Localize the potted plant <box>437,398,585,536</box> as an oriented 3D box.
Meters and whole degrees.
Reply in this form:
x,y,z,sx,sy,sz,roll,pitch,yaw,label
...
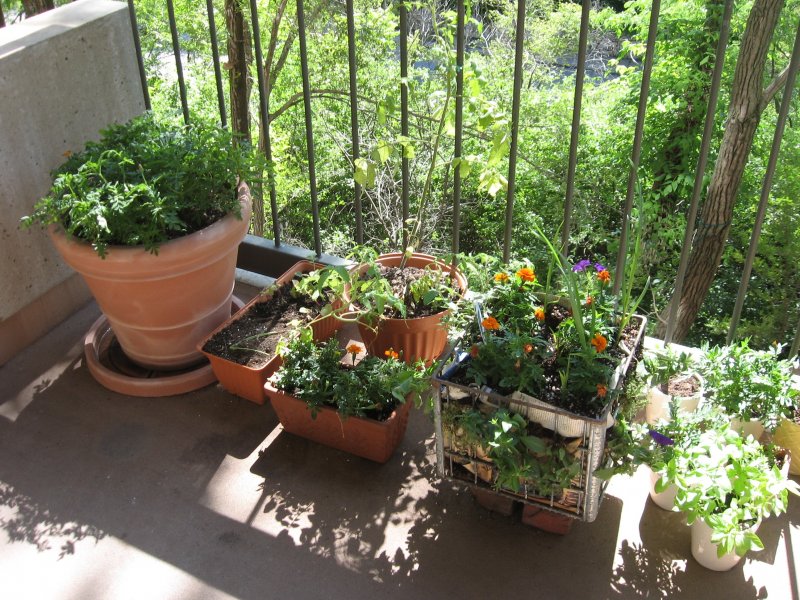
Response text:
x,y,z,sx,sy,sz,roll,pitch,yaw,label
0.293,0.385,1.668,0.370,0.263,0.390,10,26,-2,potted plant

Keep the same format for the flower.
x,y,z,sx,sy,sz,roll,pitch,yaw,label
0.404,0.106,1.683,0.350,0.149,0.498,10,47,8,flower
